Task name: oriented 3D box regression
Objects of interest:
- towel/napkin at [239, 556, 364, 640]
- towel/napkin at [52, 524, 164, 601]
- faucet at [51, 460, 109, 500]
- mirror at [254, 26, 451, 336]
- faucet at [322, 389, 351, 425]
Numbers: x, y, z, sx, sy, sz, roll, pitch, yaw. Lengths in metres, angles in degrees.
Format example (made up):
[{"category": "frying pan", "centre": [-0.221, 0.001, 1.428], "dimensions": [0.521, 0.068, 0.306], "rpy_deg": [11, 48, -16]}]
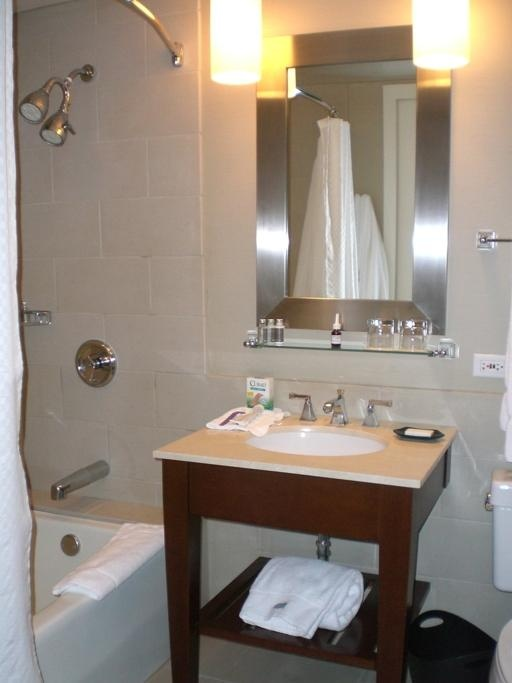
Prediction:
[{"category": "towel/napkin", "centre": [0.129, 0.694, 1.563], "dimensions": [0.295, 0.112, 0.280], "rpy_deg": [3, 5, 26]}, {"category": "towel/napkin", "centre": [-0.403, 0.601, 1.648], "dimensions": [0.116, 0.039, 0.228], "rpy_deg": [3, 8, 15]}, {"category": "faucet", "centre": [-0.645, 0.494, 2.159], "dimensions": [0.076, 0.112, 0.297], "rpy_deg": [-2, 3, 21]}, {"category": "mirror", "centre": [0.298, -0.533, 1.844], "dimensions": [0.554, 1.179, 0.021], "rpy_deg": [1, -23, 12]}, {"category": "faucet", "centre": [0.250, 0.202, 1.774], "dimensions": [0.048, 0.125, 0.149], "rpy_deg": [-1, -7, 23]}]
